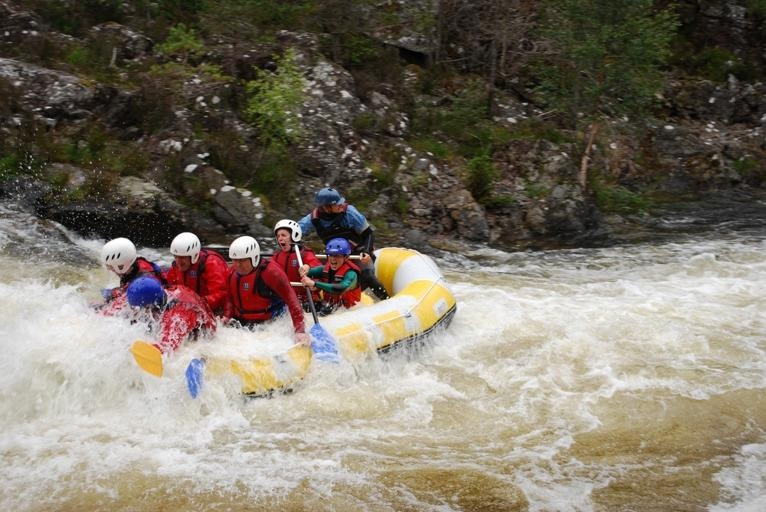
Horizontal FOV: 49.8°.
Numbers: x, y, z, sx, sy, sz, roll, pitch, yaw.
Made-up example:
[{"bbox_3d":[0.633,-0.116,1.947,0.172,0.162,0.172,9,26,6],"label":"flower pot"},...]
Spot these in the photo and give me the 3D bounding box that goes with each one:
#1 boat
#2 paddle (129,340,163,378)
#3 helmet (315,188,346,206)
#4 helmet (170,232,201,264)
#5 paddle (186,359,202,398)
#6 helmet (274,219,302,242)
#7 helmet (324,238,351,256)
[{"bbox_3d":[-0.909,1.520,16.029,5.092,0.836,2.827,-17,24,-25],"label":"boat"},{"bbox_3d":[-4.158,1.819,14.585,0.393,0.818,0.193,-48,13,-1],"label":"paddle"},{"bbox_3d":[-1.086,-1.237,17.325,0.647,0.265,0.400,-1,20,-3],"label":"helmet"},{"bbox_3d":[-3.706,-0.124,15.508,0.508,0.579,0.283,-11,9,-11],"label":"helmet"},{"bbox_3d":[-3.411,2.203,14.812,0.246,0.579,0.383,4,-18,-38],"label":"paddle"},{"bbox_3d":[-1.932,-0.530,16.378,0.477,0.497,0.493,1,-3,13],"label":"helmet"},{"bbox_3d":[-0.872,-0.132,16.294,0.373,0.389,0.357,0,-8,4],"label":"helmet"}]
